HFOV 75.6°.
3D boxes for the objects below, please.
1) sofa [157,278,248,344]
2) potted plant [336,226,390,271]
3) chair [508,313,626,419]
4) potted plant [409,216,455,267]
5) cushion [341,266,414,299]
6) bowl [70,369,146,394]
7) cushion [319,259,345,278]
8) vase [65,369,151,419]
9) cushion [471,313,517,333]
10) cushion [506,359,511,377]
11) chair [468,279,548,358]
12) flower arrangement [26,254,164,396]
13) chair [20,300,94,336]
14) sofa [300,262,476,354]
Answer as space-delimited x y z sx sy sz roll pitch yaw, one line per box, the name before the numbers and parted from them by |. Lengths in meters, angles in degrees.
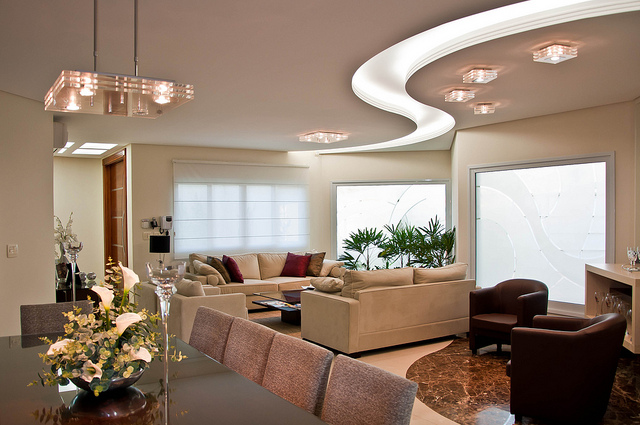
sofa | -1.702 1.449 6.208 0.979 0.906 1.408 0 -3 -30
potted plant | 1.029 0.890 10.064 1.157 0.576 1.116 -1 -10 2
chair | 2.445 1.387 4.150 1.009 0.980 1.075 -4 -8 35
potted plant | 2.621 0.653 9.449 0.935 1.048 1.333 0 3 18
cushion | 0.820 0.949 5.700 1.049 0.358 0.283 -2 3 -27
bowl | -1.230 0.964 2.381 0.406 0.124 0.400 -3 -23 -1
cushion | 0.244 1.207 9.014 0.388 0.368 0.114 -1 -34 45
vase | -1.156 0.974 2.268 0.299 0.107 0.275 5 -11 -15
cushion | 2.282 1.462 5.391 0.498 0.116 0.520 1 -3 -34
cushion | 1.877 1.536 4.060 0.018 0.210 0.231 0 3 21
chair | 2.606 1.438 5.596 0.909 0.947 0.852 -2 -2 -42
flower arrangement | -1.238 0.736 2.364 0.541 0.806 0.598 10 7 -25
chair | -2.301 0.899 3.599 0.444 0.259 0.226 -8 9 13
sofa | 1.160 1.381 6.331 2.695 1.161 1.108 2 -2 -33
